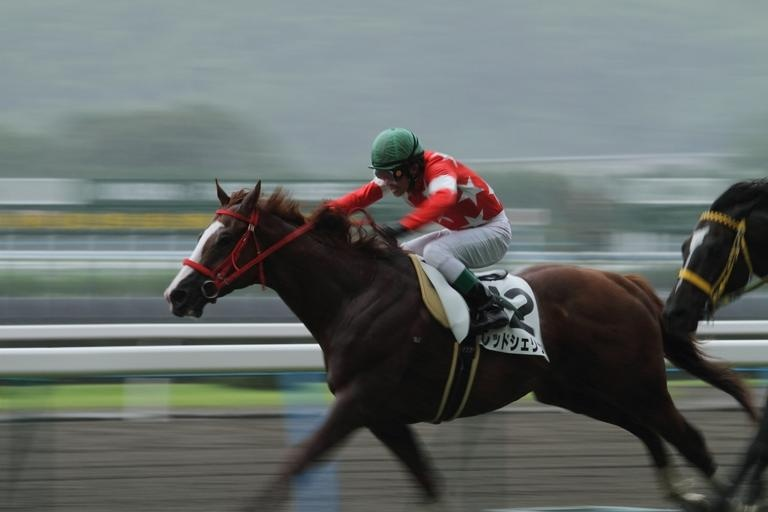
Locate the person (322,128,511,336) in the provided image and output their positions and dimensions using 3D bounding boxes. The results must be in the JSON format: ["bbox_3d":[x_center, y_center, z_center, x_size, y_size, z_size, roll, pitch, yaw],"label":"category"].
[{"bbox_3d":[0.037,-0.120,6.690,1.311,0.832,0.730,5,-1,-2],"label":"person"}]

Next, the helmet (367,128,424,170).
[{"bbox_3d":[0.076,-0.491,6.538,0.175,0.113,0.243,-11,8,39],"label":"helmet"}]

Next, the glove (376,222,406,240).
[{"bbox_3d":[0.035,-0.109,6.447,0.112,0.045,0.055,-7,44,46],"label":"glove"}]

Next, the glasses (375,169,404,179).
[{"bbox_3d":[0.013,-0.372,6.532,0.079,0.022,0.056,-7,9,-25],"label":"glasses"}]
